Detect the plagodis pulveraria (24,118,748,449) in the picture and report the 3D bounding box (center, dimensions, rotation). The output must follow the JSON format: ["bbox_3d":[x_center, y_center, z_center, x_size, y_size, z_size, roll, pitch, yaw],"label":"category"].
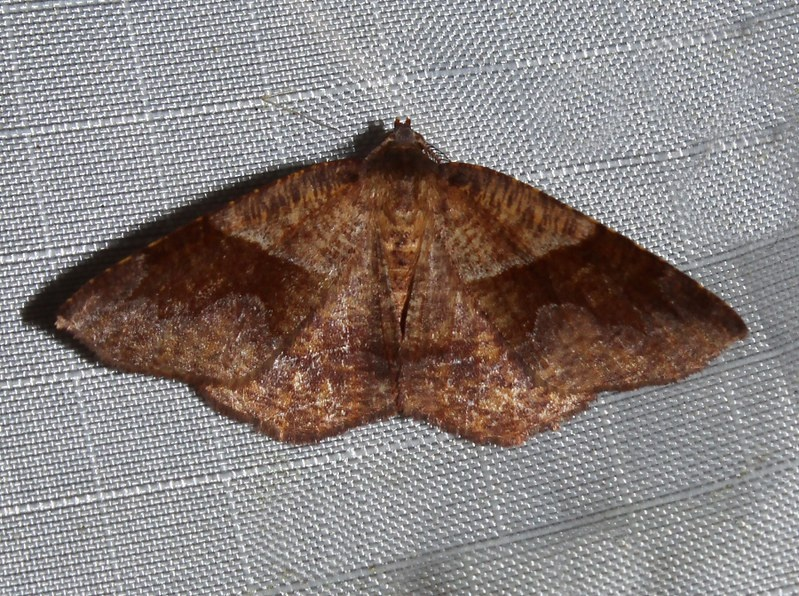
[{"bbox_3d":[0.013,0.011,2.522,1.392,0.147,0.737,5,101,3],"label":"plagodis pulveraria"}]
